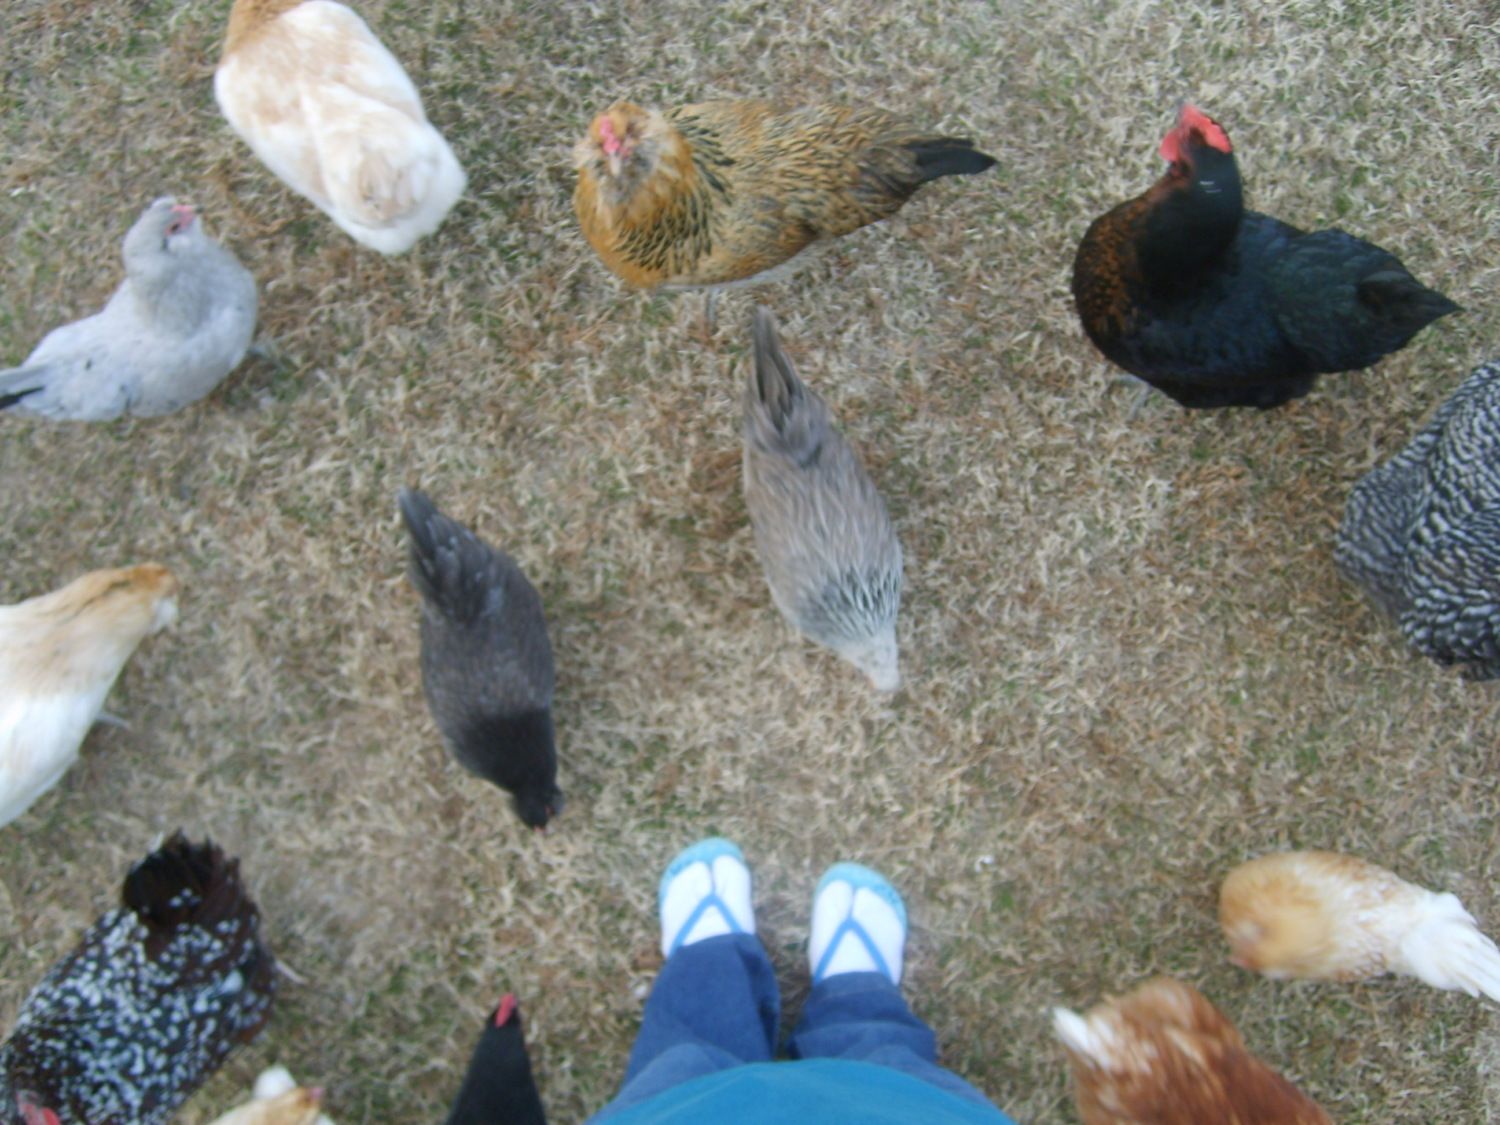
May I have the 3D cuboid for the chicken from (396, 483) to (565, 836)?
[{"bbox_3d":[-0.838,0.311,7.213,0.612,0.986,0.784,-8,43,-5],"label":"chicken"}]

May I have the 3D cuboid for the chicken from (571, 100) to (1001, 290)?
[{"bbox_3d":[0.029,-1.298,7.186,1.188,0.517,0.594,-23,86,-2],"label":"chicken"}]

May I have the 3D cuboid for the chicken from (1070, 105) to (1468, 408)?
[{"bbox_3d":[1.564,-0.851,7.091,1.025,0.589,0.673,35,86,2],"label":"chicken"}]

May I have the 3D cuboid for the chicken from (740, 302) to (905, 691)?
[{"bbox_3d":[0.309,-0.263,7.304,0.428,0.733,1.265,-17,107,0],"label":"chicken"}]
